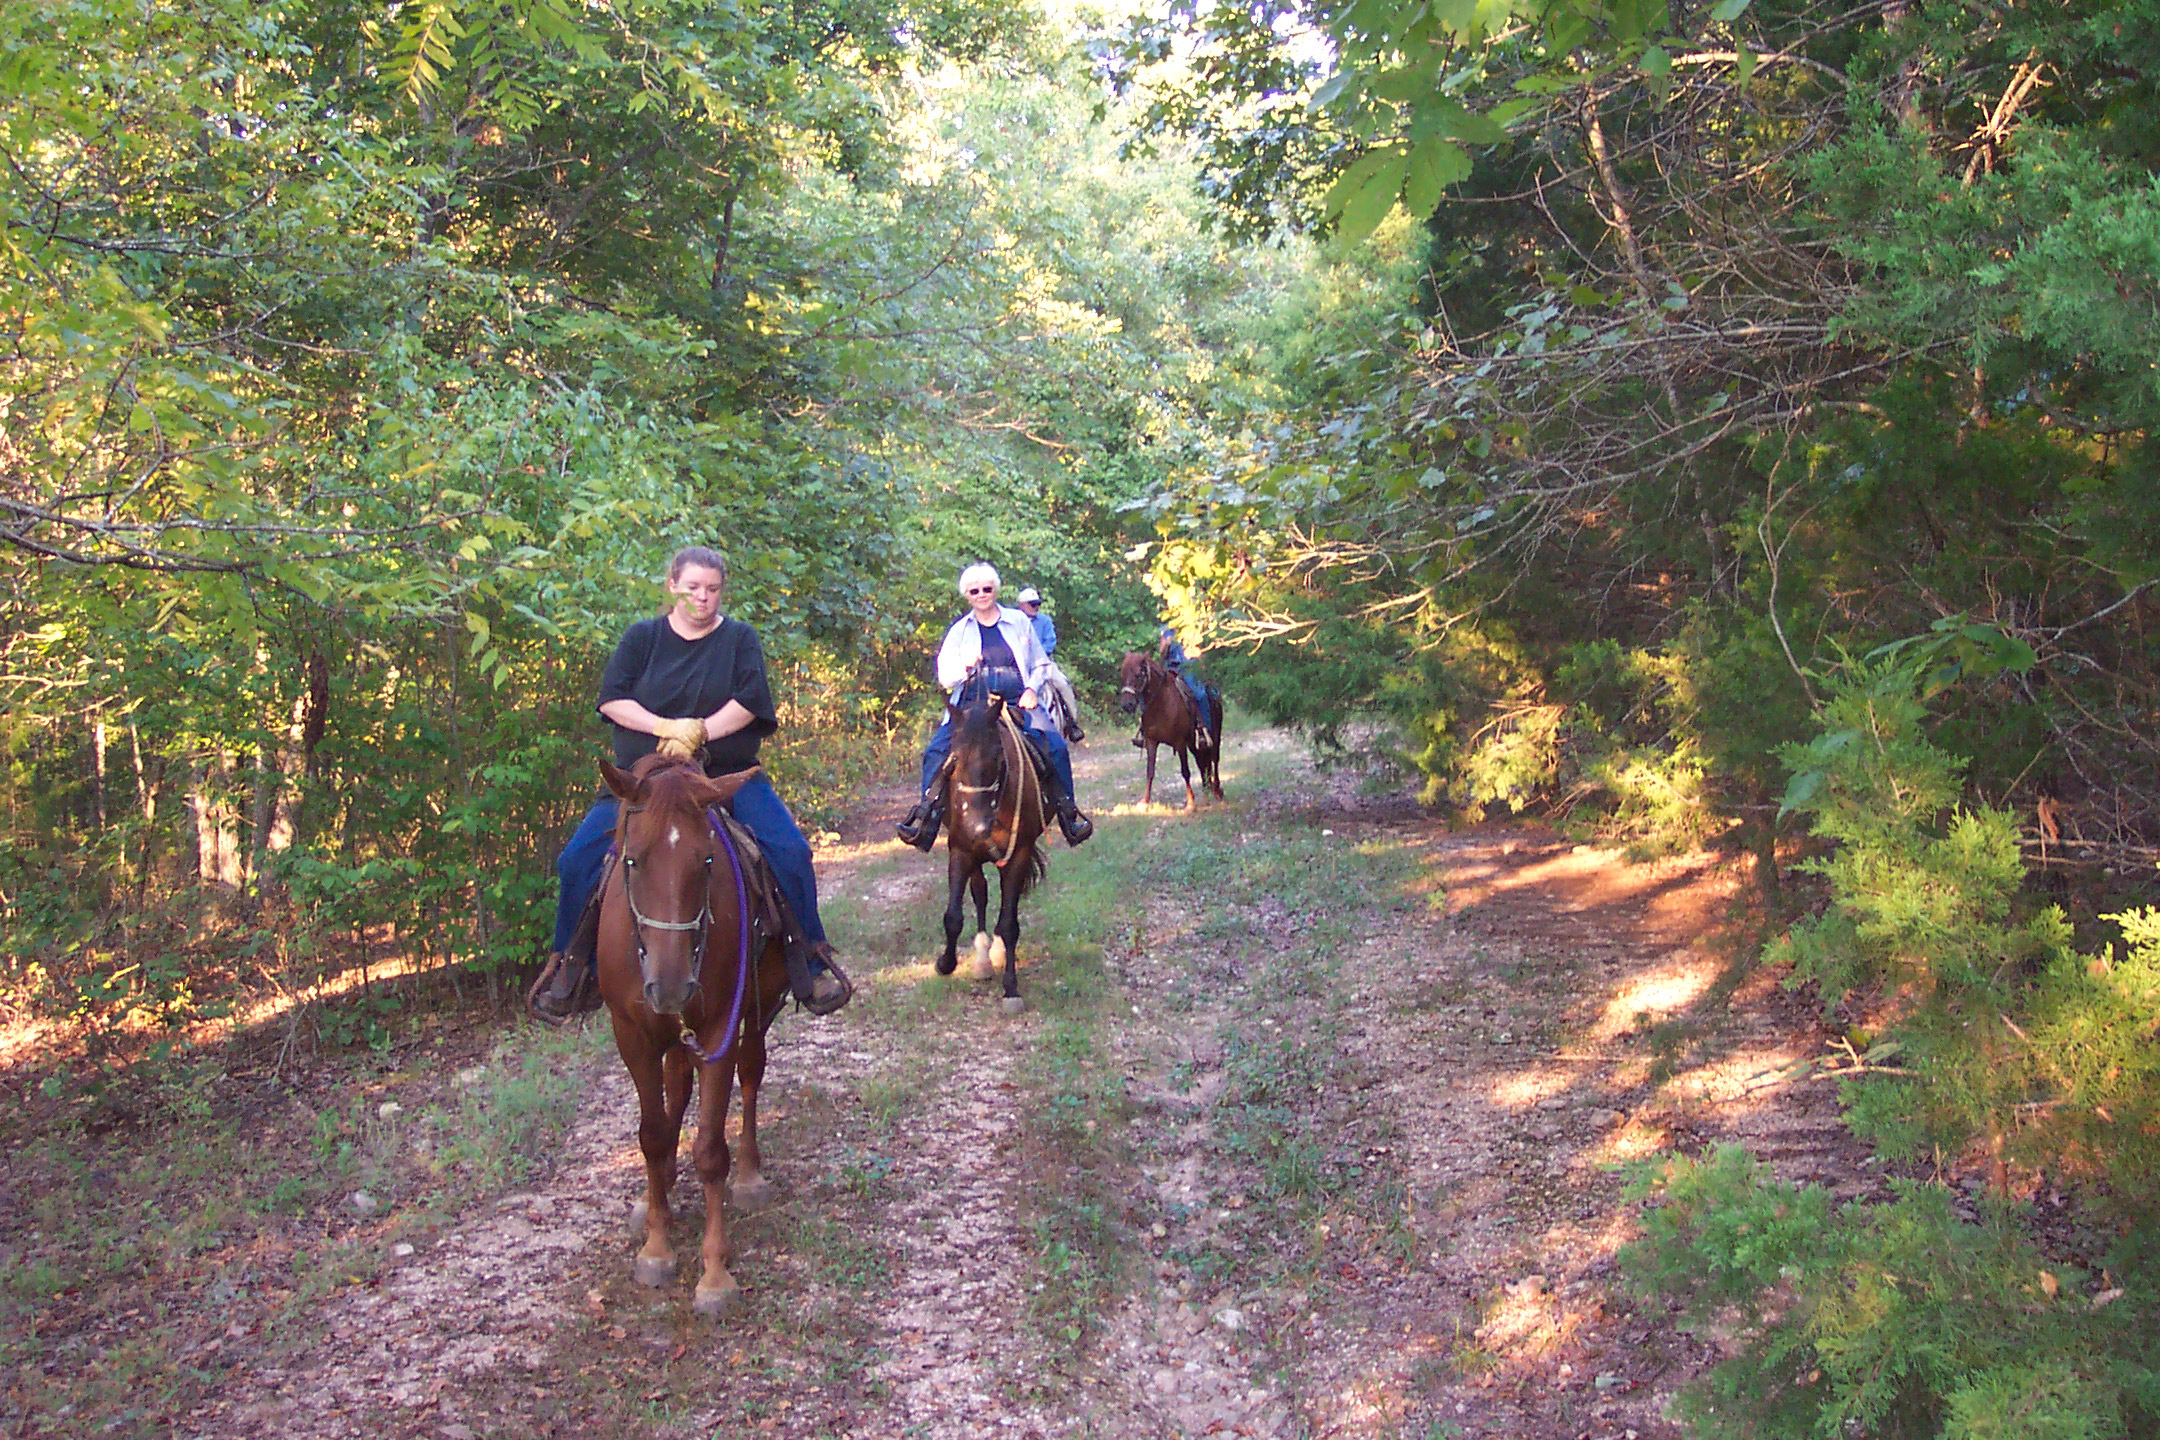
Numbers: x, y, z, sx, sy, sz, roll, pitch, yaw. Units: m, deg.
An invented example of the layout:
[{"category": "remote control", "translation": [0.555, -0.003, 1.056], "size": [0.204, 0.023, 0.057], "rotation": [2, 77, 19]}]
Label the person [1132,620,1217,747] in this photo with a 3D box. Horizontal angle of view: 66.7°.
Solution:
[{"category": "person", "translation": [1.181, -0.570, 23.030], "size": [0.545, 1.401, 2.487], "rotation": [-13, -31, 20]}]

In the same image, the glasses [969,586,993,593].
[{"category": "glasses", "translation": [-0.931, -1.218, 15.427], "size": [0.260, 0.078, 0.215], "rotation": [-6, 3, -6]}]

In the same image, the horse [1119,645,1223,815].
[{"category": "horse", "translation": [1.375, 0.207, 23.494], "size": [0.805, 2.119, 3.076], "rotation": [-7, -9, 26]}]
